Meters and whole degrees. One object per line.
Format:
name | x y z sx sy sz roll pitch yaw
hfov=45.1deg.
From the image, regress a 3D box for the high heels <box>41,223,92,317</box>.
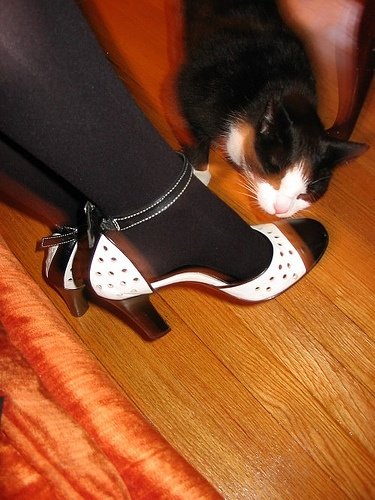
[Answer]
high heels | -0.214 0.038 0.807 0.100 0.064 0.185 -2 74 29
